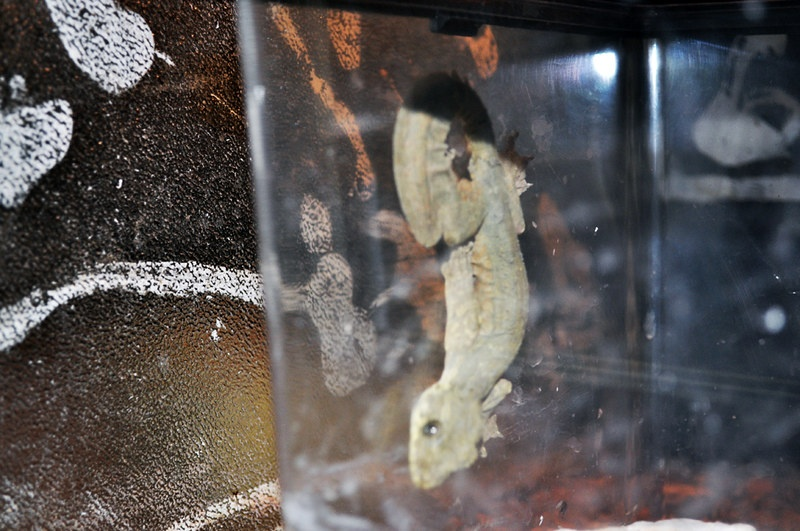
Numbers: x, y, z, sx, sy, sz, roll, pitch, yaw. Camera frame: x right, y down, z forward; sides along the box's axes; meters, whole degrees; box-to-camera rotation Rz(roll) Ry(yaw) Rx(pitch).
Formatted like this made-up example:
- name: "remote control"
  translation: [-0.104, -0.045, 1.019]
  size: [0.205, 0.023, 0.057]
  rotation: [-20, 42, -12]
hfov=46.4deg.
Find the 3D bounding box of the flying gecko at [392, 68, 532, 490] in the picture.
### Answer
- name: "flying gecko"
  translation: [0.164, 0.007, 2.450]
  size: [0.358, 1.038, 0.119]
  rotation: [0, 4, -32]
